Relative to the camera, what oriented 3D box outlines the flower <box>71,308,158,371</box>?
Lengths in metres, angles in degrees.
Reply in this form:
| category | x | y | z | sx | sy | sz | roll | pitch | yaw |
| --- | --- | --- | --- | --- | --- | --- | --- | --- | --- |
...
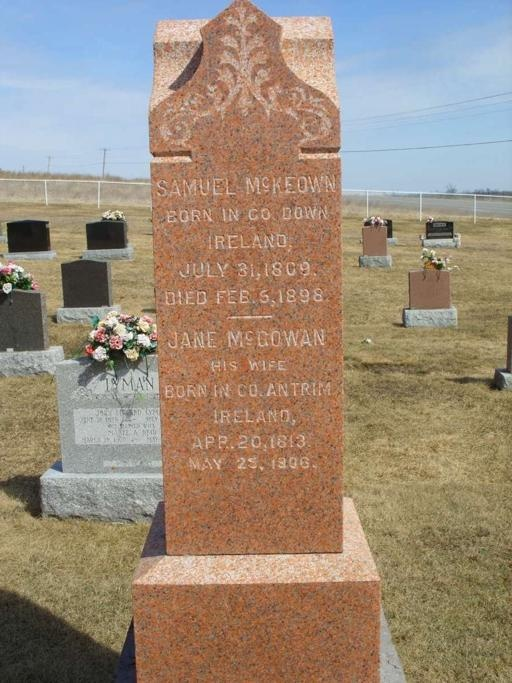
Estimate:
| category | x | y | z | sx | sy | sz | roll | pitch | yaw |
| --- | --- | --- | --- | --- | --- | --- | --- | --- | --- |
| flower | -1.062 | -0.020 | 6.312 | 0.599 | 0.383 | 0.600 | -3 | 22 | -8 |
